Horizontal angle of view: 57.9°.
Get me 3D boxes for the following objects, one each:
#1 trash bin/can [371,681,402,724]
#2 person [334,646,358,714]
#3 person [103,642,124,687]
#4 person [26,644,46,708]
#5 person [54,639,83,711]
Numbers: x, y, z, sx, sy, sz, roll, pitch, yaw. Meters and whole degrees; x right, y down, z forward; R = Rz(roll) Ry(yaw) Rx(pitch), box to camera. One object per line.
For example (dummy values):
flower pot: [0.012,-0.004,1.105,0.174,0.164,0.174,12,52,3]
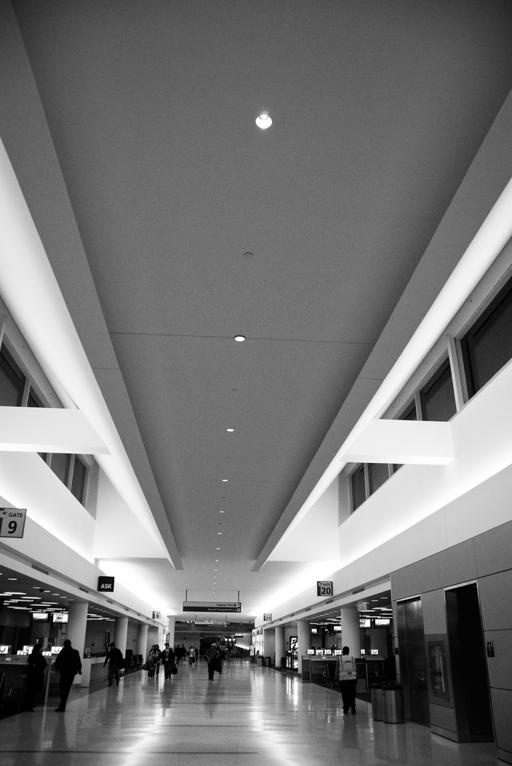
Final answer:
trash bin/can: [3.033,7.383,10.733,0.470,0.760,1.094,9,-30,-16]
person: [2.508,8.022,12.751,0.448,1.732,0.485,-2,-5,-5]
person: [-6.801,13.356,22.141,0.778,1.648,3.341,8,-30,-14]
person: [-5.841,7.646,12.159,0.461,1.477,0.954,11,-28,-20]
person: [-5.046,7.715,12.344,0.872,1.588,0.683,-22,-34,38]
